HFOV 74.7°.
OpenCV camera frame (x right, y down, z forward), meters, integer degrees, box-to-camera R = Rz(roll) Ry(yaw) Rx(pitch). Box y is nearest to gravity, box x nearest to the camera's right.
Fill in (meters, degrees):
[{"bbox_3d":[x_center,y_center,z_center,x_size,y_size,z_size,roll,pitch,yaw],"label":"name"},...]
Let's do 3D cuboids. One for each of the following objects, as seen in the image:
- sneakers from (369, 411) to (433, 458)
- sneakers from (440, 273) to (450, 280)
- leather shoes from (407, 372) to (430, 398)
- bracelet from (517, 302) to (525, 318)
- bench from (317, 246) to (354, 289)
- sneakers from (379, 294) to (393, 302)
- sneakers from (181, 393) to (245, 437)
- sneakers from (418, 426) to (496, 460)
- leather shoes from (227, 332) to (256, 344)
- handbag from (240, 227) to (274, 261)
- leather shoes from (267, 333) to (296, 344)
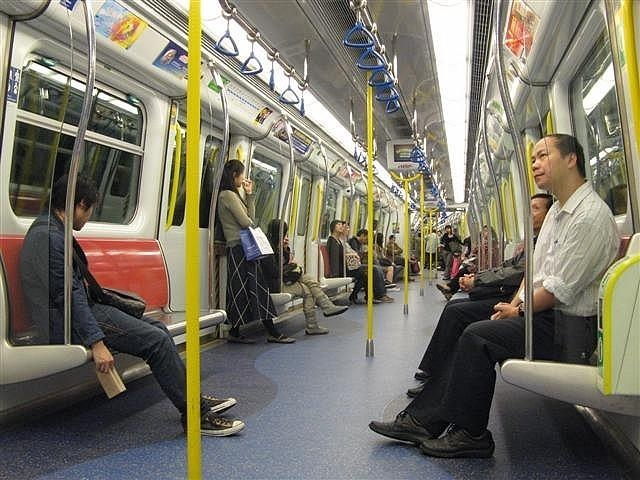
[{"bbox_3d":[0.528,1.181,2.670,0.430,0.225,0.172,17,-11,10],"label":"sneakers"},{"bbox_3d":[4.889,1.399,15.924,0.547,0.268,0.202,0,0,-3],"label":"sneakers"},{"bbox_3d":[0.846,1.218,3.594,0.164,0.231,0.512,-3,-15,18],"label":"leather shoes"},{"bbox_3d":[1.273,0.437,2.650,0.031,0.066,0.087,-1,41,14],"label":"bracelet"},{"bbox_3d":[0.279,0.544,8.004,0.739,1.160,0.700,0,-5,2],"label":"bench"},{"bbox_3d":[1.481,1.314,9.343,0.315,0.156,0.123,0,-1,12],"label":"sneakers"},{"bbox_3d":[-0.707,1.181,2.814,0.260,0.114,0.313,0,5,-9],"label":"sneakers"},{"bbox_3d":[0.832,1.207,2.574,0.420,0.206,0.184,1,-8,8],"label":"sneakers"},{"bbox_3d":[-0.976,1.223,5.225,0.362,0.126,0.142,0,-5,12],"label":"leather shoes"},{"bbox_3d":[-0.701,0.040,4.963,0.363,0.391,0.143,-6,-23,-39],"label":"handbag"},{"bbox_3d":[-0.481,1.218,5.276,0.320,0.122,0.134,-1,-6,11],"label":"leather shoes"}]
